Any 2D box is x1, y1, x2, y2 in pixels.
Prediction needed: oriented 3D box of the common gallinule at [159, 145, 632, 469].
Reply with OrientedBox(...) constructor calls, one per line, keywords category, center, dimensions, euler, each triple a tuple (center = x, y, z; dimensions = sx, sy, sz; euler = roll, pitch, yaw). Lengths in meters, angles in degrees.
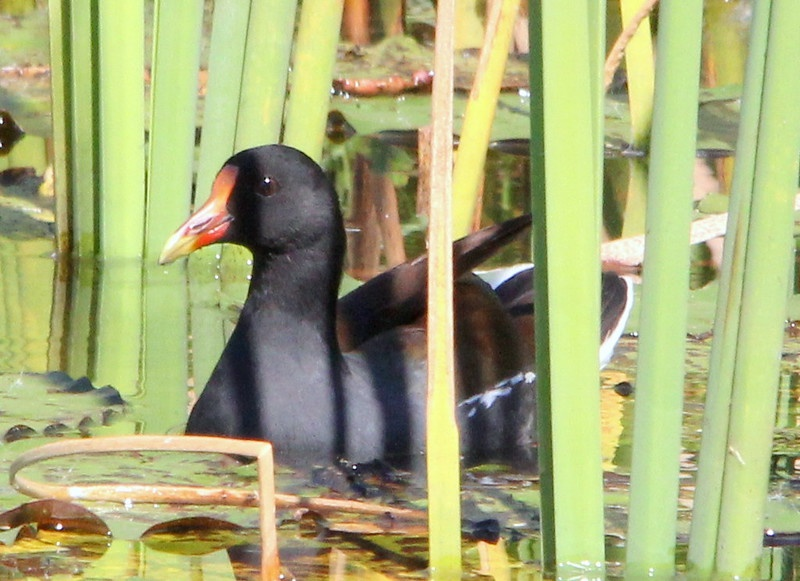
OrientedBox(category="common gallinule", center=(0.029, 0.045, 2.825), dimensions=(1.150, 0.756, 0.661), euler=(-9, 11, -32))
